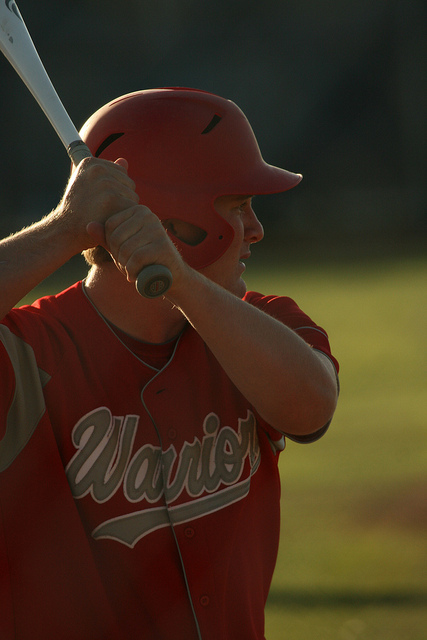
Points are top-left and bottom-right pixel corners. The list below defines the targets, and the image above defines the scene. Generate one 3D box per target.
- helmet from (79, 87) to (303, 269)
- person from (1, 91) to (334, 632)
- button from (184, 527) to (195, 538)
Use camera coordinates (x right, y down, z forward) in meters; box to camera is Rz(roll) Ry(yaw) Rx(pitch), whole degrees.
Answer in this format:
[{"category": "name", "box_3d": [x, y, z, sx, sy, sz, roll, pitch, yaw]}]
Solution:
[{"category": "helmet", "box_3d": [-0.014, -0.324, 1.635, 0.420, 0.292, 0.312, 0, -62, 1]}, {"category": "person", "box_3d": [-0.093, 0.038, 1.440, 0.668, 1.030, 0.403, 18, -23, -38]}, {"category": "button", "box_3d": [-0.041, 0.371, 1.360, 0.017, 0.015, 0.004, 1, -9, -19]}]
